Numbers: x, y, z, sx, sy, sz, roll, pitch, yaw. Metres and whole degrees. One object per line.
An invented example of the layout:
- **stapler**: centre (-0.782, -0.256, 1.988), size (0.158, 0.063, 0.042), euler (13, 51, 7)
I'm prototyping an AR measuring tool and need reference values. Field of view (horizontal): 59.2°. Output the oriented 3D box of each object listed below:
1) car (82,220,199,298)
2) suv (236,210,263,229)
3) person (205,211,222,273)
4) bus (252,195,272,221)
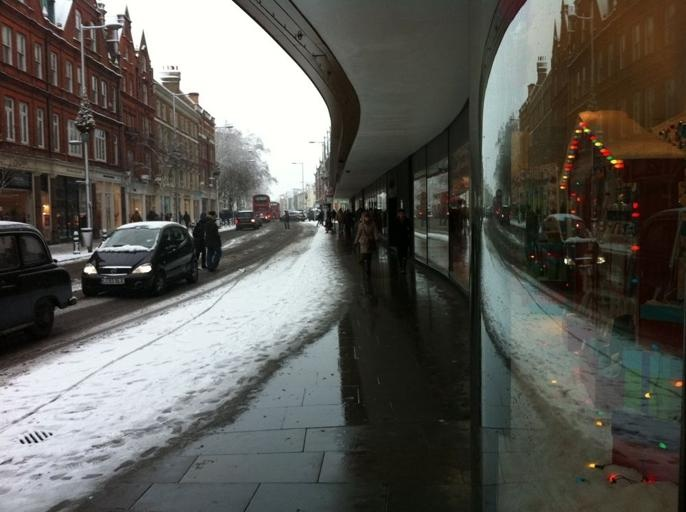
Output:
- **car**: centre (-4.616, 0.007, 13.950), size (1.606, 1.561, 2.570), euler (0, 4, 14)
- **suv**: centre (-8.637, -3.423, 56.705), size (1.462, 1.691, 3.330), euler (0, 5, 21)
- **person**: centre (-3.912, -0.457, 18.299), size (0.429, 1.758, 1.141), euler (-2, 3, -13)
- **bus**: centre (-10.127, -6.123, 77.426), size (2.512, 4.501, 7.777), euler (0, 2, -2)
